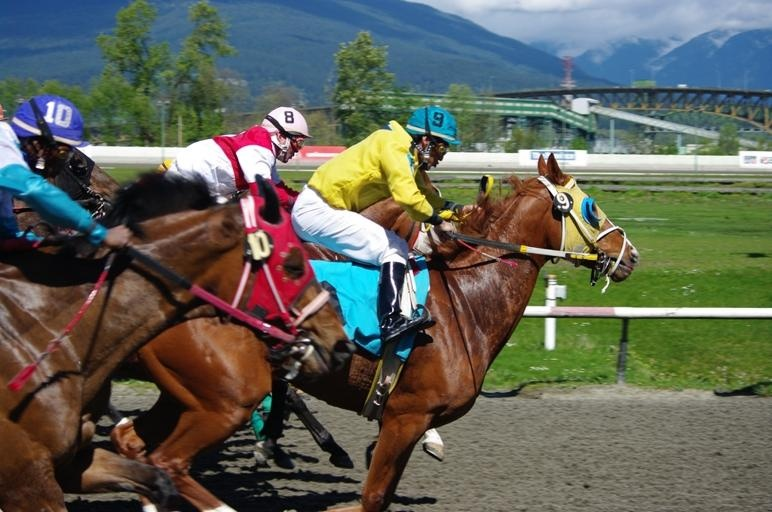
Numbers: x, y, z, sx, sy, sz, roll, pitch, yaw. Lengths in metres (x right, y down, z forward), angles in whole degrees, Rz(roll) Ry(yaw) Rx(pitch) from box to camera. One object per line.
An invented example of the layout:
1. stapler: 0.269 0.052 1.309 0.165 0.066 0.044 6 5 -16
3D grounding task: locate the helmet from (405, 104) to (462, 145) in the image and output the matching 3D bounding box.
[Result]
1. helmet: 0.341 -1.066 8.129 0.492 0.187 0.268 3 25 -22

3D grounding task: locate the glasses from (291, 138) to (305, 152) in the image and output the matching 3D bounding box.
1. glasses: -0.774 -0.949 8.668 0.125 0.092 0.124 -3 13 2

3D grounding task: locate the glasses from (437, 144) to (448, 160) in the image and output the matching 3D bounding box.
1. glasses: 0.456 -0.837 8.163 0.079 0.100 0.102 9 1 -32
